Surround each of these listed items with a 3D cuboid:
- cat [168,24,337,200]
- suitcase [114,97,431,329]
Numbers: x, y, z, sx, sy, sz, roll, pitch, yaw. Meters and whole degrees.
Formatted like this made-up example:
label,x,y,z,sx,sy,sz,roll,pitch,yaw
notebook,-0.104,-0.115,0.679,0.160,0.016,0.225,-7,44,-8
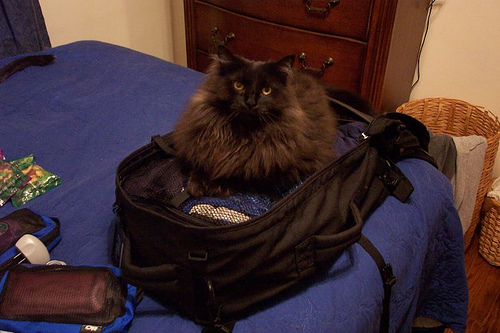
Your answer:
label,x,y,z,sx,sy,sz,roll,pitch,yaw
cat,0.052,-0.213,1.552,0.460,0.382,0.712,14,42,13
suitcase,0.083,0.143,1.455,0.972,0.340,0.692,-28,42,-29
